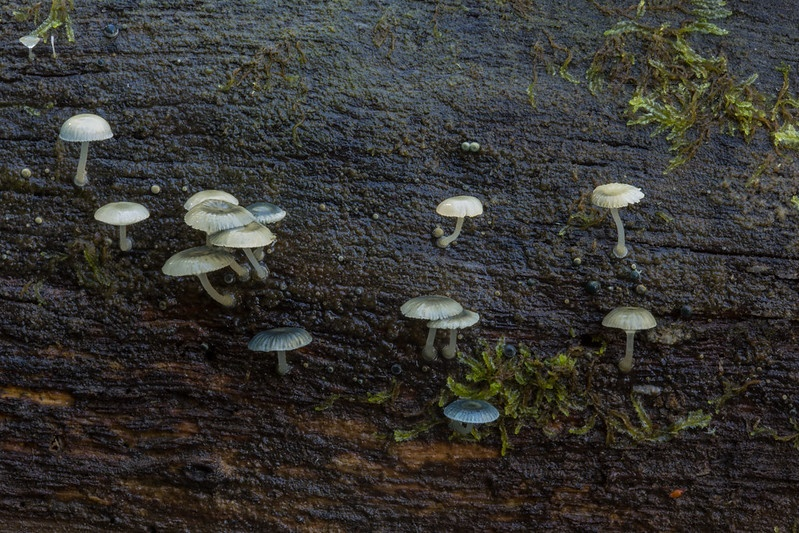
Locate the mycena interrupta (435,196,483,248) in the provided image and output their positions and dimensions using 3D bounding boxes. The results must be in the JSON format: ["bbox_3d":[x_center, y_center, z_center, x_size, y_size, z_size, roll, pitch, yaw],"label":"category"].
[{"bbox_3d":[0.585,-0.440,13.885,0.527,0.512,0.522,-3,9,-36],"label":"mycena interrupta"}]

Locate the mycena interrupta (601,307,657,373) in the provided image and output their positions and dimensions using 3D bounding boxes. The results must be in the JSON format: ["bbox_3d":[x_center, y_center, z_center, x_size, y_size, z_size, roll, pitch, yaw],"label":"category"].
[{"bbox_3d":[2.345,0.754,13.761,0.552,0.695,0.310,6,16,8],"label":"mycena interrupta"}]

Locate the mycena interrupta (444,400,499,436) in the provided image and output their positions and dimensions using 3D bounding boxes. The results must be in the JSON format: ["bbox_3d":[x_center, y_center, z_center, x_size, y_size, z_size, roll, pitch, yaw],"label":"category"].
[{"bbox_3d":[0.721,1.513,13.633,0.430,0.210,0.383,3,19,3],"label":"mycena interrupta"}]

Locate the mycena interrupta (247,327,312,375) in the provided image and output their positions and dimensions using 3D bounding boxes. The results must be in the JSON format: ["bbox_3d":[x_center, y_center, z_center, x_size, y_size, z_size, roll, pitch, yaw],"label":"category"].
[{"bbox_3d":[-1.203,0.815,13.536,0.511,0.340,0.500,13,30,29],"label":"mycena interrupta"}]
